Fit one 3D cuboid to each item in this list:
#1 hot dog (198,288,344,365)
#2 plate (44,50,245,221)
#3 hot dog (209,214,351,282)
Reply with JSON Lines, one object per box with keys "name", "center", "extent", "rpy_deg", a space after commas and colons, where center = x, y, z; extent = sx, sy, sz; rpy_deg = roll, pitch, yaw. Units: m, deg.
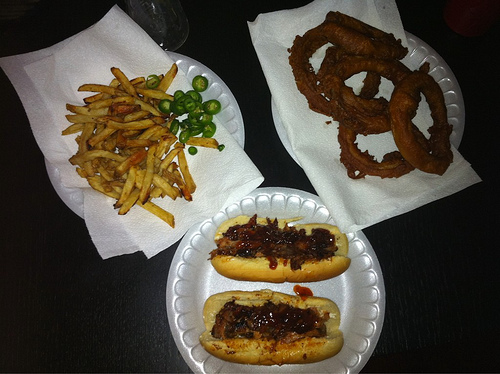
{"name": "hot dog", "center": [0.213, 1.291, 4.062], "extent": [1.140, 0.336, 0.653], "rpy_deg": [1, 75, 0]}
{"name": "plate", "center": [-0.943, -0.440, 3.914], "extent": [1.268, 0.146, 1.418], "rpy_deg": [5, 94, 3]}
{"name": "hot dog", "center": [0.279, 0.576, 4.113], "extent": [1.179, 0.434, 0.606], "rpy_deg": [1, 70, -1]}
